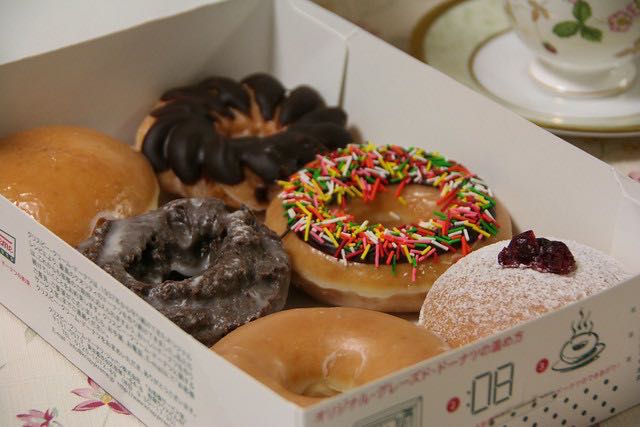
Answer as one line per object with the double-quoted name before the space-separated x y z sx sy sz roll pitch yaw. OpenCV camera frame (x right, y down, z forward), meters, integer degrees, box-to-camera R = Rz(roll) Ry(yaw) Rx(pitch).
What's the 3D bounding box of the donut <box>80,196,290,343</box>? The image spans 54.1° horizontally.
"donut" -0.293 0.113 1.444 0.412 0.206 0.352 11 37 26
